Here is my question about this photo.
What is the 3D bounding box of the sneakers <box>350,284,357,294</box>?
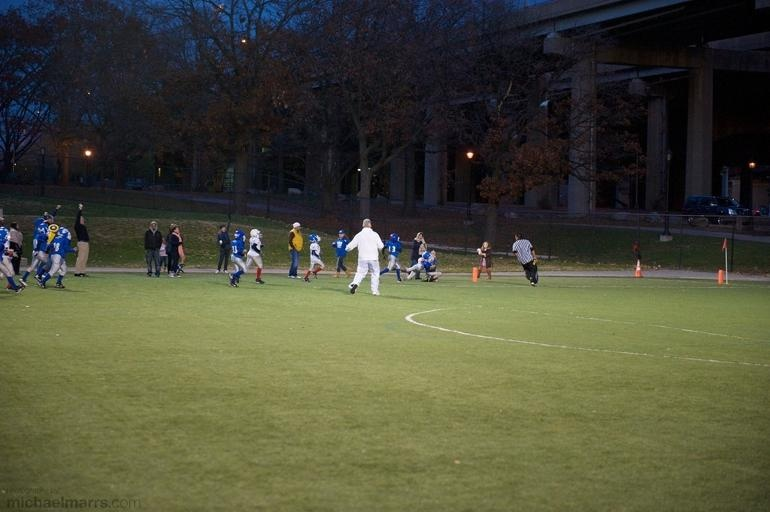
[{"bbox_3d":[-1.056,1.149,28.841,0.164,0.181,0.442,3,-37,-6],"label":"sneakers"}]
